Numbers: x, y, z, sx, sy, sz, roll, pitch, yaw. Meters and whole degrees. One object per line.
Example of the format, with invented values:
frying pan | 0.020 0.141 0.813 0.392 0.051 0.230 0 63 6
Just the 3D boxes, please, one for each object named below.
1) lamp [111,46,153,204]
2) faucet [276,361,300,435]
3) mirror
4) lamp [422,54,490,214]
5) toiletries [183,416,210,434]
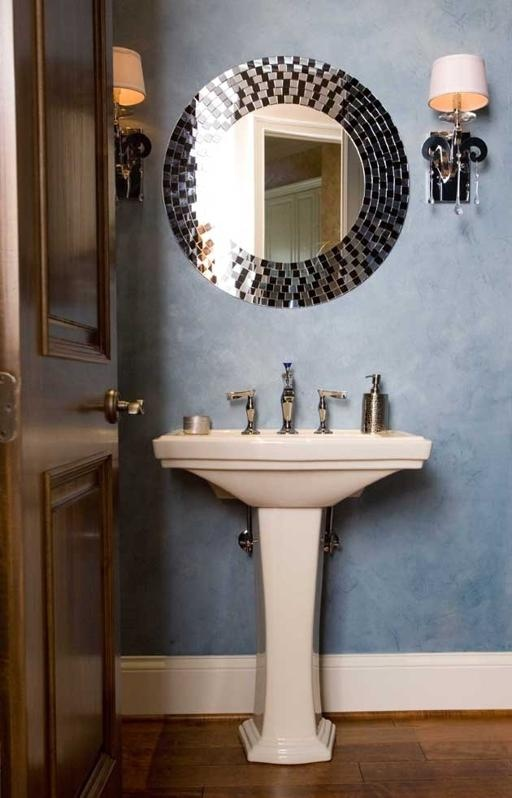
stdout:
lamp | -0.298 -0.671 2.092 0.090 0.353 0.170 0 3 -8
faucet | 0.080 -0.002 2.162 0.042 0.173 0.109 0 3 3
mirror | 0.051 -0.575 2.186 0.530 0.656 0.008 0 5 -1
lamp | 0.494 -0.648 2.148 0.160 0.365 0.269 1 3 15
toiletries | -0.143 0.065 2.054 0.041 0.034 0.046 0 -4 2
